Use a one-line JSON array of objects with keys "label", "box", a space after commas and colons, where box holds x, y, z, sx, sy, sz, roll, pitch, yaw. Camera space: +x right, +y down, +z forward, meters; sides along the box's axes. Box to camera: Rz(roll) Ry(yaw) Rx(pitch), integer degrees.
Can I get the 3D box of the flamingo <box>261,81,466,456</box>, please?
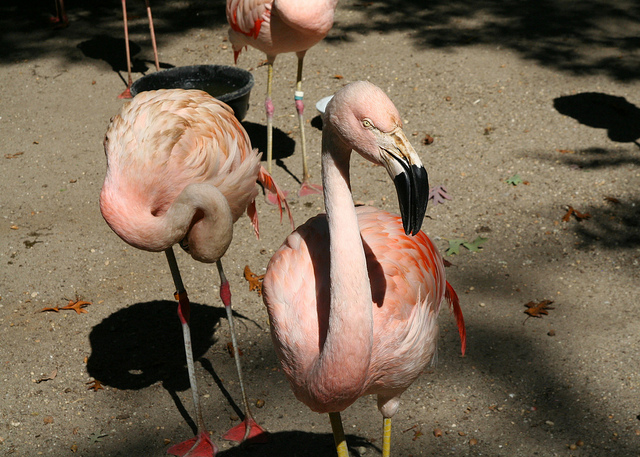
[{"label": "flamingo", "box": [0.227, 0.385, 4.436, 1.223, 2.146, 1.391, 17, 51, 11]}]
